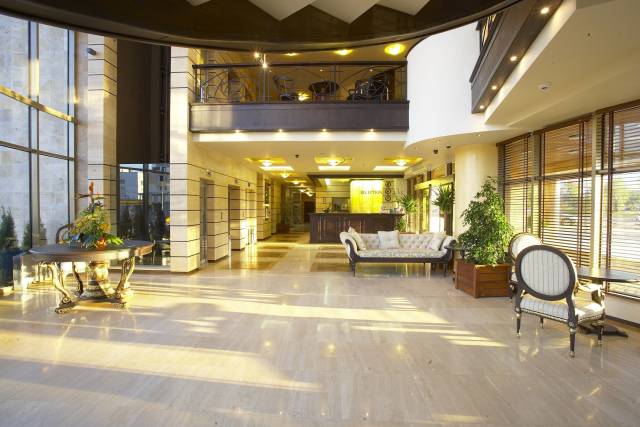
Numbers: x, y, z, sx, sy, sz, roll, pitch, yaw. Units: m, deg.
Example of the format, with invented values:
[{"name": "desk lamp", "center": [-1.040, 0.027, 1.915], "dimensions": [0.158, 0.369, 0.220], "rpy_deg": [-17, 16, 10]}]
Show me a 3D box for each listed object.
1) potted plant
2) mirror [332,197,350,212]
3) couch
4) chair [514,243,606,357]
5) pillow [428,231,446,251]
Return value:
[{"name": "potted plant", "center": [3.327, 0.494, 8.662], "dimensions": [1.058, 2.344, 0.799], "rpy_deg": [4, 8, 20]}, {"name": "mirror", "center": [1.181, -0.551, 25.168], "dimensions": [0.977, 0.834, 0.474], "rpy_deg": [0, 8, -6]}, {"name": "couch", "center": [1.965, 0.949, 10.829], "dimensions": [2.664, 0.993, 1.237], "rpy_deg": [1, 7, 1]}, {"name": "chair", "center": [3.758, 1.263, 6.732], "dimensions": [1.189, 1.596, 1.173], "rpy_deg": [4, 7, 39]}, {"name": "pillow", "center": [2.954, 0.714, 10.842], "dimensions": [0.133, 0.419, 0.431], "rpy_deg": [26, -4, -20]}]
